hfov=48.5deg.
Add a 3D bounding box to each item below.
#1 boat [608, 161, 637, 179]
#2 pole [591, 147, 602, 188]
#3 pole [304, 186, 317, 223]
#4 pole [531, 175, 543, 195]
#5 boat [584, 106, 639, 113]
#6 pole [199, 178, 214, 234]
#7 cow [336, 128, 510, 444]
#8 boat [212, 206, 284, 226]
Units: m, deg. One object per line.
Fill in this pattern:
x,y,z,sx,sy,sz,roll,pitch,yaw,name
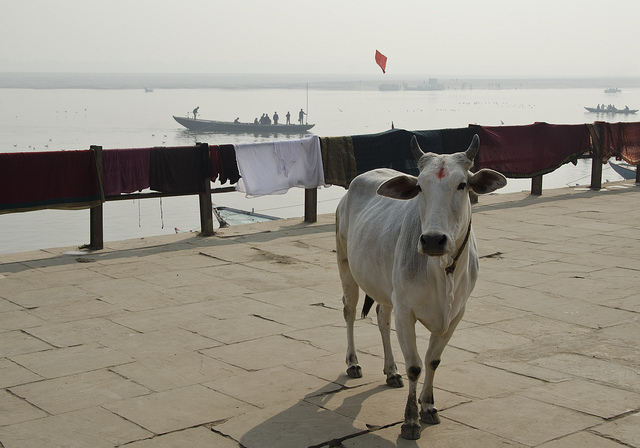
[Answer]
17.223,-3.048,40.226,1.170,0.896,4.796,-1,7,22,boat
7.448,-1.396,19.080,0.289,0.823,0.398,-2,8,20,pole
-0.197,-0.421,14.917,0.321,0.740,0.243,-4,7,4,pole
5.546,-1.005,18.139,0.264,0.484,0.347,-3,7,11,pole
58.086,-22.434,140.278,9.372,1.186,6.160,-6,7,-18,boat
-2.214,-0.374,13.849,0.266,1.076,0.483,-6,8,-10,pole
0.984,0.500,7.435,1.578,2.769,2.819,-5,7,0,cow
-3.278,-0.457,29.653,2.239,0.646,3.858,-5,6,-8,boat
